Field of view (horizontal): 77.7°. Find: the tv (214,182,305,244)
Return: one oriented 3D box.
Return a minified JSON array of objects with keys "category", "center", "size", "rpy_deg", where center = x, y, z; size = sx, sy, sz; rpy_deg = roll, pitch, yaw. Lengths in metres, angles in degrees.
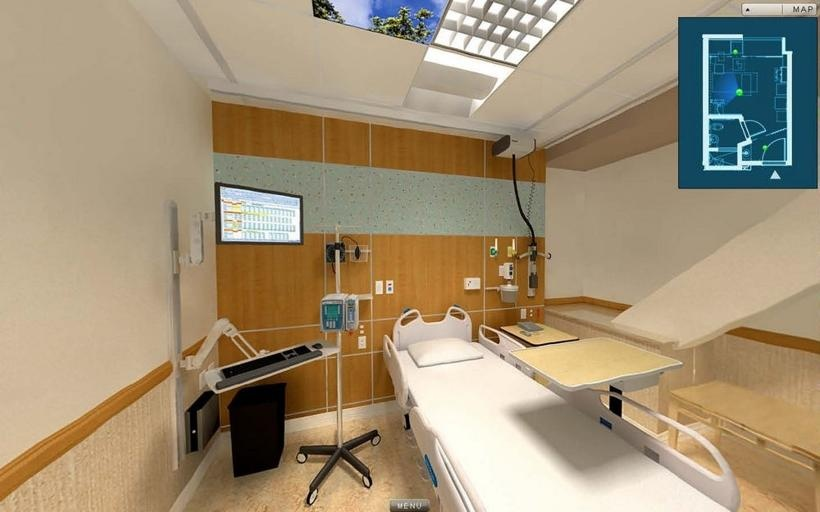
[{"category":"tv","center":[-1.291,-0.340,4.336],"size":[0.623,0.362,0.044],"rpy_deg":[2,-2,-42]}]

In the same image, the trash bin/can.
[{"category":"trash bin/can","center":[-1.462,1.562,4.942],"size":[0.590,0.858,0.896],"rpy_deg":[-2,-3,-4]}]
